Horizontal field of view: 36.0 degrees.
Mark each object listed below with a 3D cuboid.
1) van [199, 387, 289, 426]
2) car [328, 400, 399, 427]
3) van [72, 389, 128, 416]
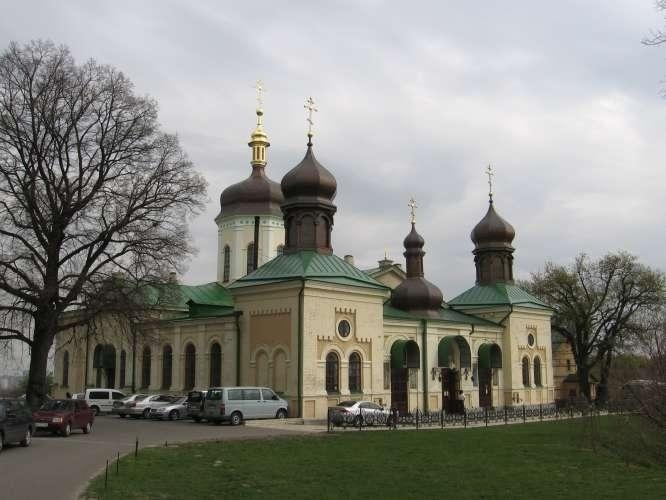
[{"bbox_3d":[-4.574,7.936,52.402,3.649,1.546,1.959,4,-9,-36],"label":"van"},{"bbox_3d":[1.319,8.141,50.627,2.680,0.910,1.303,5,-9,-37],"label":"car"},{"bbox_3d":[-13.839,8.993,61.520,2.591,1.103,1.827,-1,-5,-22],"label":"van"}]
